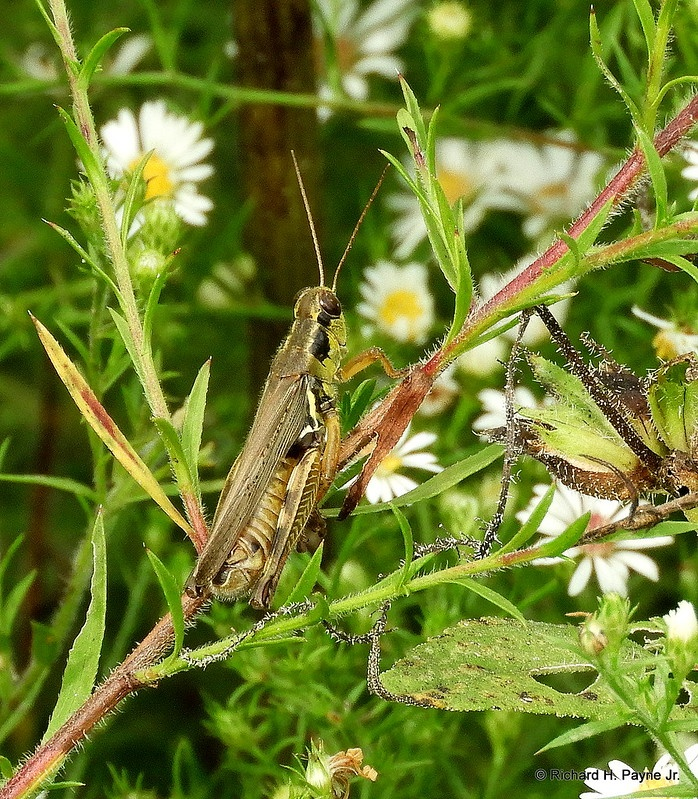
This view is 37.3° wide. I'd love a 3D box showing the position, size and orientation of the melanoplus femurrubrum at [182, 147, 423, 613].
[{"bbox_3d":[-0.038,-0.050,1.069,0.159,0.215,0.505,-4,62,52],"label":"melanoplus femurrubrum"}]
